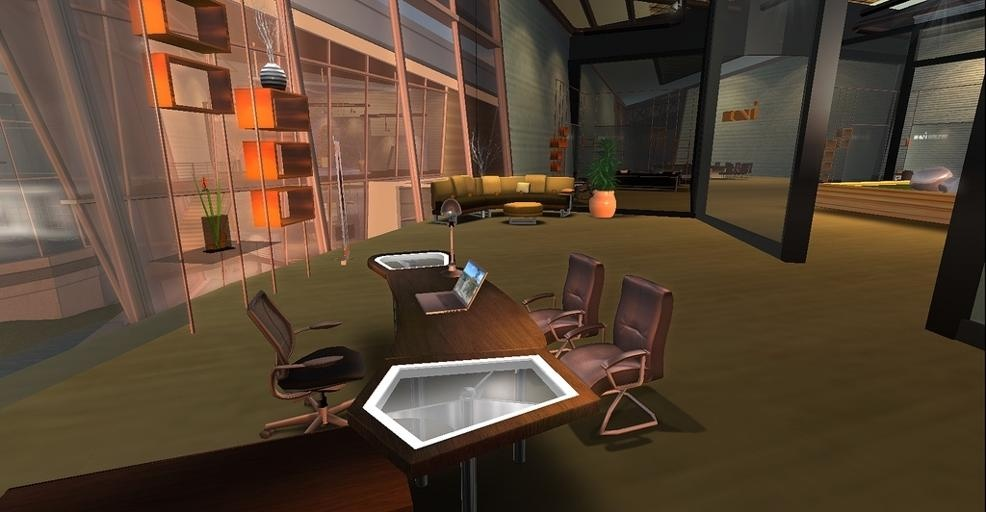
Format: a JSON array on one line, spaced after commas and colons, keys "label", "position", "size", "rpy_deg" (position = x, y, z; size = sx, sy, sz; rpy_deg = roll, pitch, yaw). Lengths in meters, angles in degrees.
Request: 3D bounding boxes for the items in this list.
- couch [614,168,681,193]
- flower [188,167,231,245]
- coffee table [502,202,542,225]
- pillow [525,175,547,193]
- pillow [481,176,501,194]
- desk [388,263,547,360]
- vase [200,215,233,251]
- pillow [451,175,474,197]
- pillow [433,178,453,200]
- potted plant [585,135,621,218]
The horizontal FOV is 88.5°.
[{"label": "couch", "position": [6.490, -3.060, 20.937], "size": [2.349, 0.638, 0.730], "rpy_deg": [5, 28, 20]}, {"label": "flower", "position": [-5.149, -0.761, 9.265], "size": [0.552, 1.386, 0.251], "rpy_deg": [-17, 23, -40]}, {"label": "coffee table", "position": [0.800, -1.141, 13.557], "size": [0.846, 0.331, 0.752], "rpy_deg": [-1, 11, 0]}, {"label": "pillow", "position": [1.276, -2.044, 14.743], "size": [0.622, 0.464, 0.298], "rpy_deg": [2, -6, 2]}, {"label": "pillow", "position": [-0.058, -2.012, 14.699], "size": [0.631, 0.484, 0.303], "rpy_deg": [-1, -3, -13]}, {"label": "desk", "position": [-0.422, 0.710, 6.958], "size": [1.858, 0.706, 1.871], "rpy_deg": [-4, 14, -10]}, {"label": "vase", "position": [-5.326, -0.442, 9.623], "size": [0.411, 0.570, 0.675], "rpy_deg": [-2, 11, -21]}, {"label": "pillow", "position": [-0.869, -1.882, 13.928], "size": [0.433, 0.563, 0.737], "rpy_deg": [2, 9, 40]}, {"label": "pillow", "position": [-1.340, -1.751, 13.392], "size": [0.642, 0.498, 0.566], "rpy_deg": [-1, 12, -11]}, {"label": "potted plant", "position": [3.072, -2.127, 14.067], "size": [0.728, 2.121, 0.880], "rpy_deg": [1, 17, 10]}]
